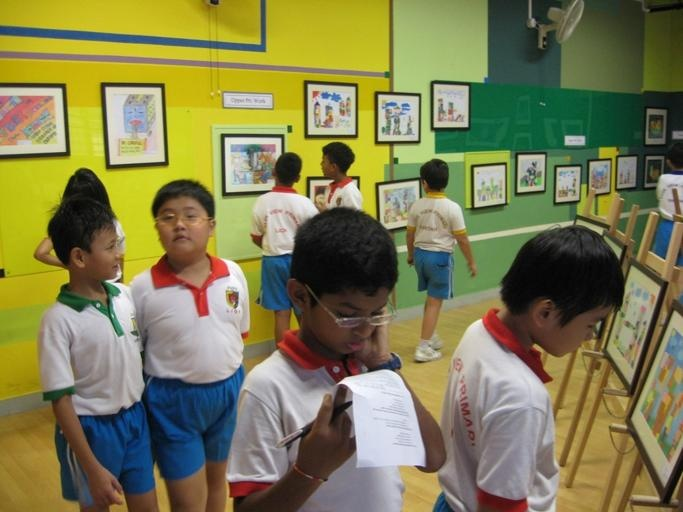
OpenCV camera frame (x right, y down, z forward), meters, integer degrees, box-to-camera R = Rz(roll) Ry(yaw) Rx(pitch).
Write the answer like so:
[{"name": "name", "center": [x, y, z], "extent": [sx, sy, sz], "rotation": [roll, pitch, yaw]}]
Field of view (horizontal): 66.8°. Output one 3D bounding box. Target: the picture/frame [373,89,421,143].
[{"name": "picture/frame", "center": [0.624, -1.638, 6.016], "extent": [0.584, 0.627, 0.039], "rotation": [-6, 9, -36]}]

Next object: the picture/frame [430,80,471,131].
[{"name": "picture/frame", "center": [1.339, -1.903, 6.482], "extent": [0.581, 0.611, 0.058], "rotation": [-8, 10, -37]}]

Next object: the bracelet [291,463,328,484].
[{"name": "bracelet", "center": [-0.084, 0.563, 1.340], "extent": [0.084, 0.057, 0.018], "rotation": [-3, 10, 1]}]

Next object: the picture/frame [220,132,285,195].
[{"name": "picture/frame", "center": [-0.885, -0.889, 4.991], "extent": [0.544, 0.509, 0.026], "rotation": [-13, 20, -41]}]

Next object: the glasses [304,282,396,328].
[{"name": "glasses", "center": [0.024, 0.140, 1.461], "extent": [0.248, 0.121, 0.076], "rotation": [-4, 10, -2]}]

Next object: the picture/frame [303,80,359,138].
[{"name": "picture/frame", "center": [-0.141, -1.569, 5.488], "extent": [0.591, 0.561, 0.045], "rotation": [-5, 7, -36]}]

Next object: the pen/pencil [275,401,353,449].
[{"name": "pen/pencil", "center": [-0.074, 0.451, 1.368], "extent": [0.244, 0.030, 0.029], "rotation": [-34, 59, -11]}]

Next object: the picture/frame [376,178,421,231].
[{"name": "picture/frame", "center": [0.622, -0.585, 5.817], "extent": [0.700, 0.647, 0.029], "rotation": [-16, 20, -41]}]

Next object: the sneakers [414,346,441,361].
[{"name": "sneakers", "center": [0.871, 0.968, 5.199], "extent": [0.288, 0.151, 0.120], "rotation": [-6, 9, -37]}]

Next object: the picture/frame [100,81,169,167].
[{"name": "picture/frame", "center": [-1.791, -1.135, 4.405], "extent": [0.612, 0.894, 0.032], "rotation": [-9, 9, -42]}]

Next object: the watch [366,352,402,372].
[{"name": "watch", "center": [0.140, 0.312, 1.555], "extent": [0.069, 0.034, 0.060], "rotation": [-4, -2, 10]}]
